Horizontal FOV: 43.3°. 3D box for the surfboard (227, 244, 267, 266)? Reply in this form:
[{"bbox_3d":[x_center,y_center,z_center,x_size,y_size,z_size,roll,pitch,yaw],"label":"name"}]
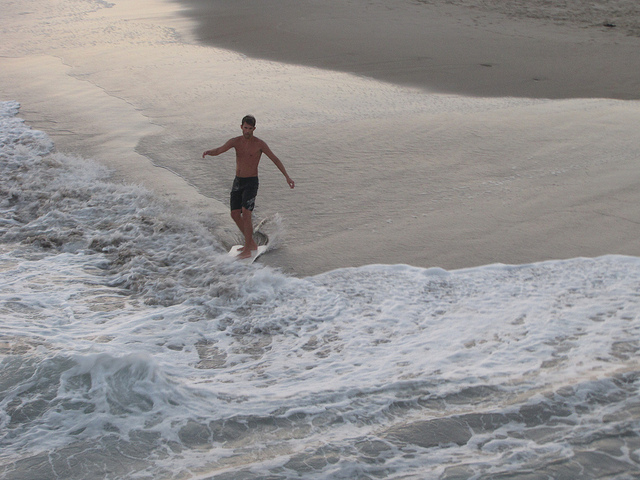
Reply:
[{"bbox_3d":[-1.056,0.206,11.948,0.390,0.111,0.569,-33,45,-28],"label":"surfboard"}]
